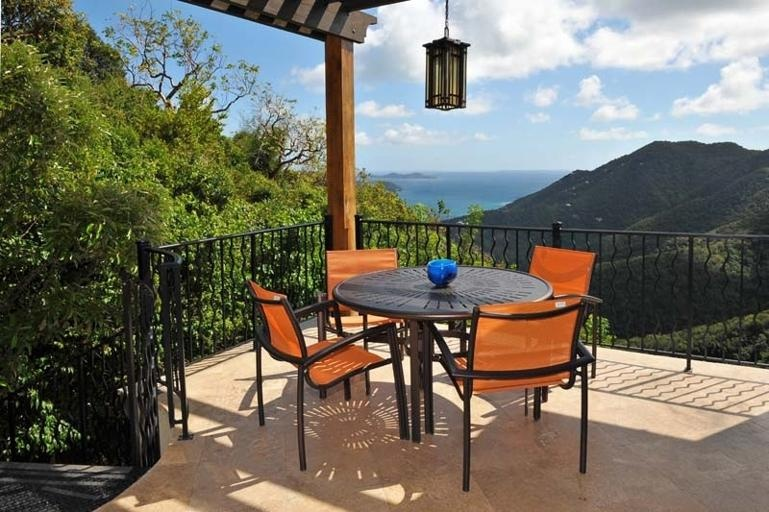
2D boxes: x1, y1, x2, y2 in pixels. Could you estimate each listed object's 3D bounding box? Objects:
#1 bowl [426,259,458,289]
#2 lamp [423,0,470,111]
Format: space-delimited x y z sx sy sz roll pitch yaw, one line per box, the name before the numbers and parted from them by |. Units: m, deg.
bowl | 0.500 0.155 4.937 0.223 0.182 0.235 -1 3 0
lamp | 0.509 -1.669 4.801 0.355 0.954 0.454 0 4 7
